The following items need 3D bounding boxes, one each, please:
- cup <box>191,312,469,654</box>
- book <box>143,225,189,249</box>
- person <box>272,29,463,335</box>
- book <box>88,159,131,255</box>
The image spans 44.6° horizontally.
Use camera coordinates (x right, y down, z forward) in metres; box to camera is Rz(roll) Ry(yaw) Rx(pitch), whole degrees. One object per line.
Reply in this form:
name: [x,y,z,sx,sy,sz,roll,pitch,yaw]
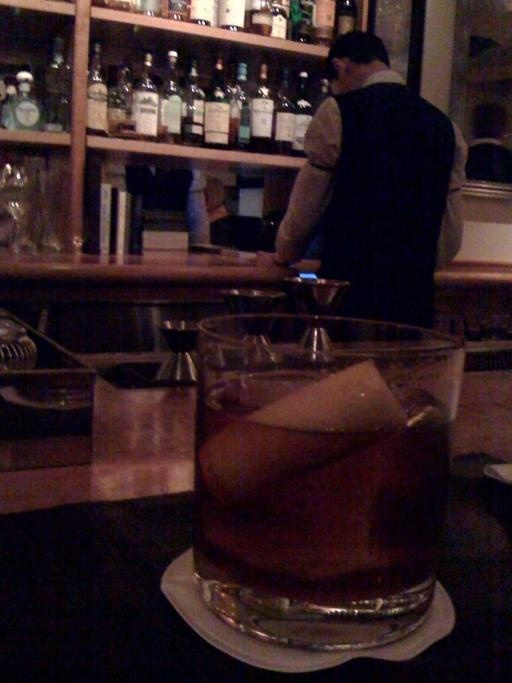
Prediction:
cup: [0.024,0.056,0.300,0.110,0.137,0.117,2,13,0]
book: [-0.361,-0.406,2.514,0.121,0.061,0.088,-1,4,-20]
person: [0.399,-0.496,2.189,0.651,0.874,0.333,2,6,11]
book: [-0.592,-0.532,2.518,0.117,0.377,0.382,2,13,-6]
